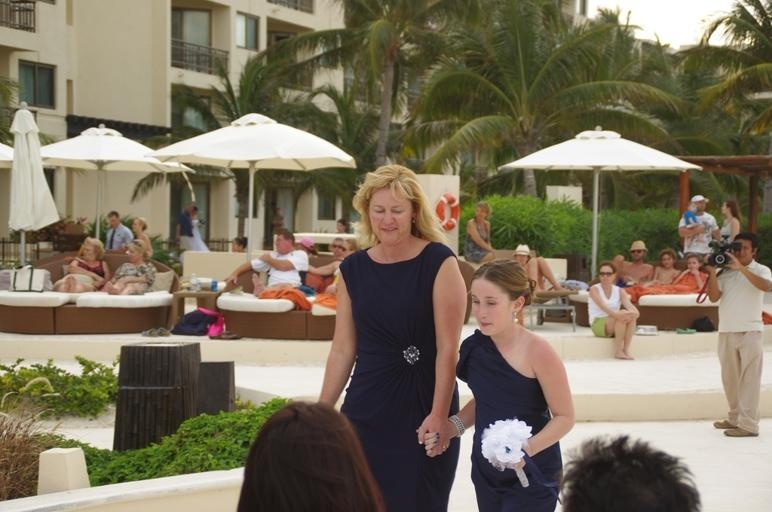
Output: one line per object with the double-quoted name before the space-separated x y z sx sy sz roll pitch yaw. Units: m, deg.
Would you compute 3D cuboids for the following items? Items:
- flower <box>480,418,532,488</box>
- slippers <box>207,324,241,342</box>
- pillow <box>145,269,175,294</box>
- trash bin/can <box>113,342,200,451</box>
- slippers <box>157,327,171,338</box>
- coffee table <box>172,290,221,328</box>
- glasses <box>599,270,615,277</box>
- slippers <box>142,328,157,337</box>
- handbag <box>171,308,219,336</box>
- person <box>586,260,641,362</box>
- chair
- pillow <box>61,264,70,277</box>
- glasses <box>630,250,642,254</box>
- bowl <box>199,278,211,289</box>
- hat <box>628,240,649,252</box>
"flower" 2.173 3.547 28.756 0.849 1.253 0.245 -1 -1 -1
"slippers" -3.623 1.655 35.493 0.721 0.310 0.258 -1 -1 -2
"pillow" -5.172 0.525 36.883 0.446 0.498 0.189 12 5 5
"trash bin/can" -4.630 2.709 31.687 1.745 3.104 1.848 2 -2 -4
"slippers" -4.943 1.650 35.420 0.316 0.169 0.429 0 -2 -9
"coffee table" -4.332 1.138 36.162 0.829 0.929 0.909 0 -6 2
"glasses" 4.979 0.311 35.819 0.321 0.156 0.115 -1 -1 7
"slippers" -5.290 1.652 35.495 0.186 0.129 0.324 1 0 -27
"handbag" -4.251 1.438 35.563 1.094 0.579 0.289 0 -1 -9
"person" 5.153 1.187 36.003 1.074 2.212 0.586 -1 -1 8
"chair" 3.708 0.619 37.927 1.330 1.616 2.490 3 2 -12
"pillow" -7.495 0.246 37.010 0.189 0.260 0.072 5 1 10
"glasses" 6.040 -0.152 38.317 0.295 0.104 0.191 -1 -2 23
"bowl" -4.110 0.571 36.106 0.282 0.227 0.152 0 -1 -34
"hat" 6.104 -0.302 38.371 0.280 0.270 0.490 -1 -2 27
